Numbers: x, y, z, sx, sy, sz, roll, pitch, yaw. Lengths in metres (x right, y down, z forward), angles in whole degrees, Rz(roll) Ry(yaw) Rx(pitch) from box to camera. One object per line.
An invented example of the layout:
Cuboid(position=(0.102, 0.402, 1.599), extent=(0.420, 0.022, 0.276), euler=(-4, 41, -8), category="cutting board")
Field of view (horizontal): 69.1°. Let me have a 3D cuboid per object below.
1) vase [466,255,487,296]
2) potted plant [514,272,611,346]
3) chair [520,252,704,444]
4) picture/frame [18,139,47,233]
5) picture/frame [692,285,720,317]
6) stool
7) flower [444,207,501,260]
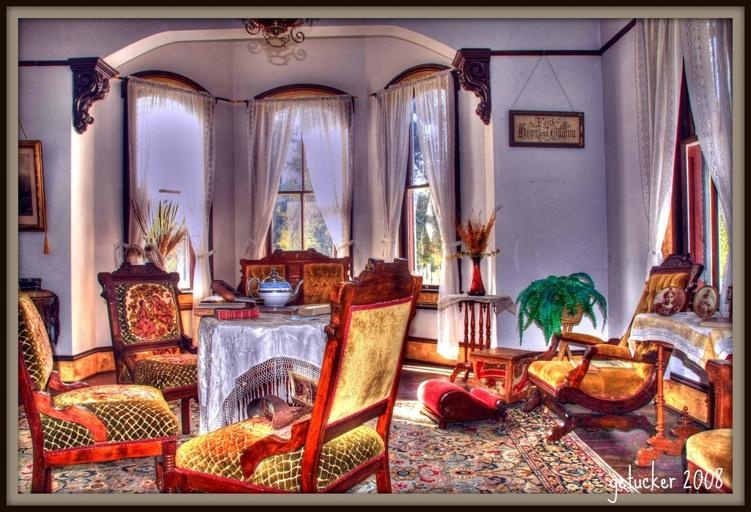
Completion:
Cuboid(position=(1.129, 0.208, 6.043), extent=(0.180, 0.358, 0.510), euler=(1, 0, 12), category="vase")
Cuboid(position=(1.609, 0.404, 4.883), extent=(0.819, 0.578, 0.803), euler=(-2, -3, 13), category="potted plant")
Cuboid(position=(2.100, 0.838, 5.159), extent=(1.488, 2.136, 1.297), euler=(3, -4, -3), category="chair")
Cuboid(position=(-3.642, -0.732, 5.777), extent=(0.280, 0.942, 0.105), euler=(1, 1, 12), category="picture/frame")
Cuboid(position=(2.378, 0.330, 3.922), extent=(0.033, 0.245, 0.203), euler=(21, -8, -30), category="picture/frame")
Cuboid(position=(1.210, 1.108, 5.227), extent=(0.529, 0.518, 0.538), euler=(2, -3, -17), category="stool")
Cuboid(position=(1.084, -0.191, 6.192), extent=(0.497, 0.719, 0.605), euler=(7, -1, 5), category="flower")
